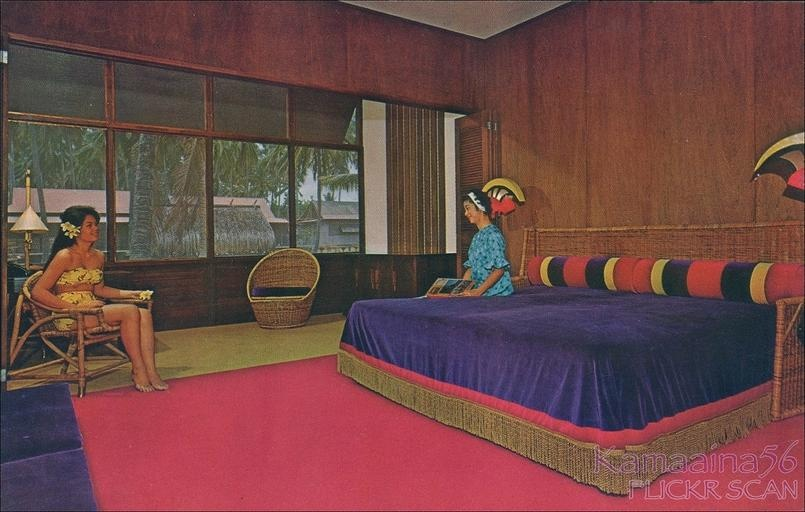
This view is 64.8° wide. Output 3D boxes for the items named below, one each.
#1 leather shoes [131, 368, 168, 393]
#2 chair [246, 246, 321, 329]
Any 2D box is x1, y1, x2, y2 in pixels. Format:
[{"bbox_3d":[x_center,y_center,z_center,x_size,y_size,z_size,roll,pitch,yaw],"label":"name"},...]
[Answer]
[{"bbox_3d":[-2.209,1.061,5.470,0.309,0.077,0.169,-2,-2,43],"label":"leather shoes"},{"bbox_3d":[-1.470,0.362,7.987,0.858,0.739,1.031,1,15,-6],"label":"chair"}]
